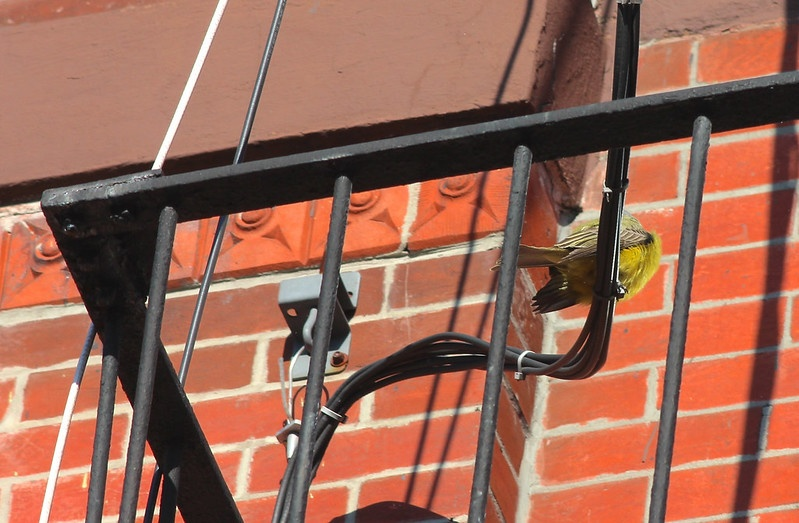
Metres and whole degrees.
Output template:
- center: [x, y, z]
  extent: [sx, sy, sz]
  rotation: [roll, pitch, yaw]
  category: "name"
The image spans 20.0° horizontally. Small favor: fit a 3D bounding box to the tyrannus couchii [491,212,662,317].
- center: [0.527, 0.007, 6.387]
  extent: [0.505, 0.236, 0.239]
  rotation: [3, -40, -11]
  category: "tyrannus couchii"
